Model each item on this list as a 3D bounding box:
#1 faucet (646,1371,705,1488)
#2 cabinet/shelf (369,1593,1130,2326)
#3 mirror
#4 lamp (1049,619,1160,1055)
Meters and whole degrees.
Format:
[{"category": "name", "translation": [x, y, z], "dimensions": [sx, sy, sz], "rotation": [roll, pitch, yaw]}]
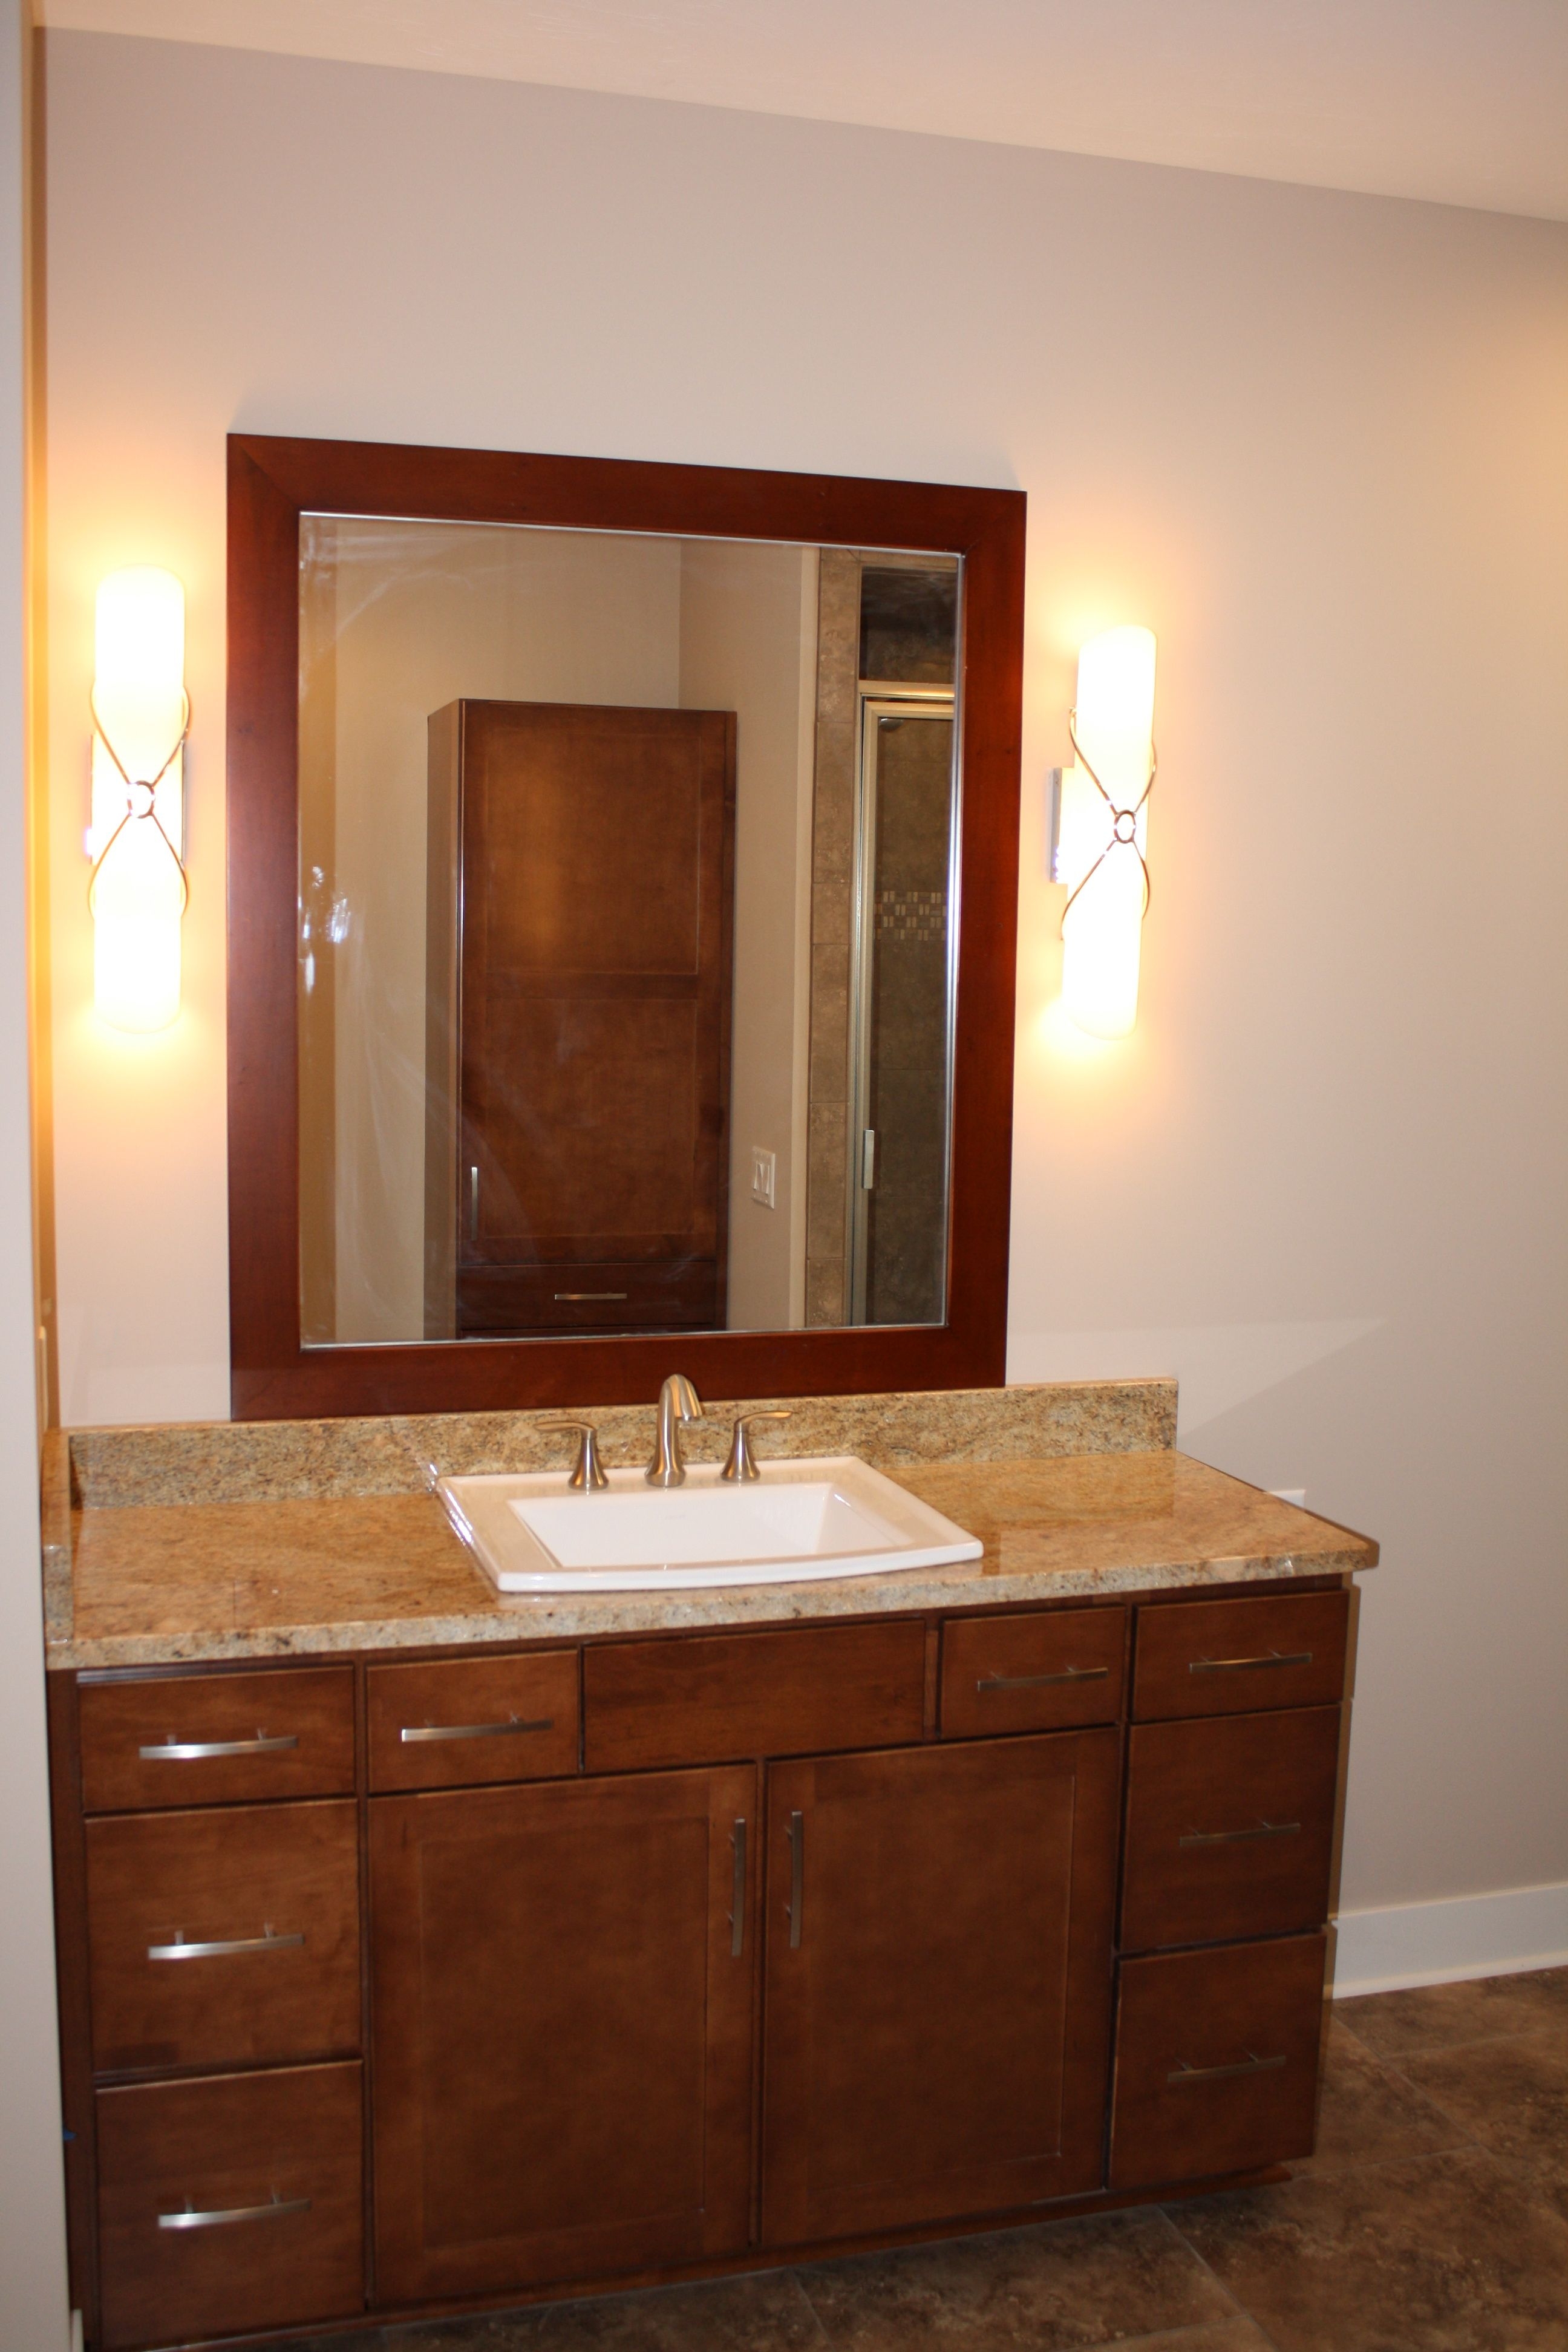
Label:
[{"category": "faucet", "translation": [-0.130, 0.286, 2.208], "dimensions": [0.048, 0.130, 0.157], "rotation": [2, 5, -5]}, {"category": "cabinet/shelf", "translation": [-0.062, 0.756, 1.912], "dimensions": [0.703, 0.619, 0.285], "rotation": [-1, 4, -14]}, {"category": "mirror", "translation": [-0.221, -0.318, 2.255], "dimensions": [1.130, 1.402, 0.029], "rotation": [-1, 6, -14]}, {"category": "lamp", "translation": [0.403, -0.420, 2.439], "dimensions": [0.134, 0.509, 0.096], "rotation": [1, 5, -17]}]
